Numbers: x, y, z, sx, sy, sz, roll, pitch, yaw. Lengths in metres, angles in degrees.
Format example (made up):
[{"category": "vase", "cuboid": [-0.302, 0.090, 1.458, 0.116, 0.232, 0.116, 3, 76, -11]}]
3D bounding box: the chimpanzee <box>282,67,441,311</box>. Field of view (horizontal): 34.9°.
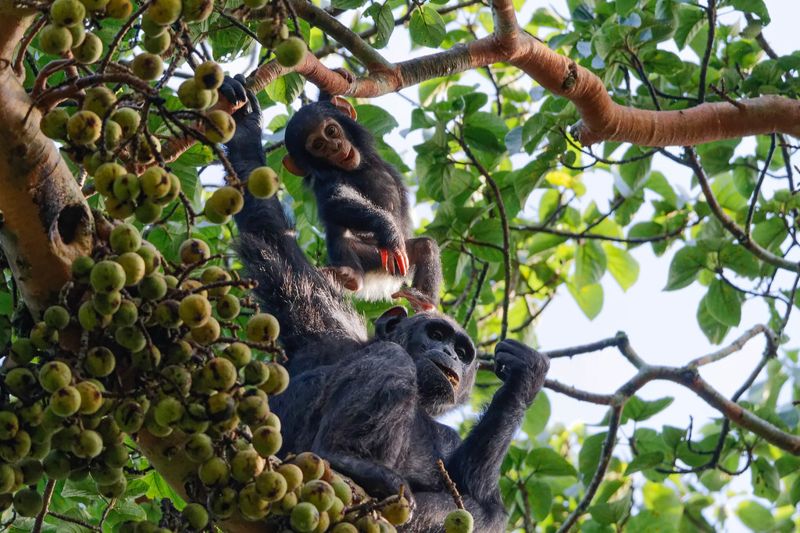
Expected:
[{"category": "chimpanzee", "cuboid": [-0.287, -0.546, 8.133, 1.709, 0.714, 0.638, 57, -17, 29]}]
